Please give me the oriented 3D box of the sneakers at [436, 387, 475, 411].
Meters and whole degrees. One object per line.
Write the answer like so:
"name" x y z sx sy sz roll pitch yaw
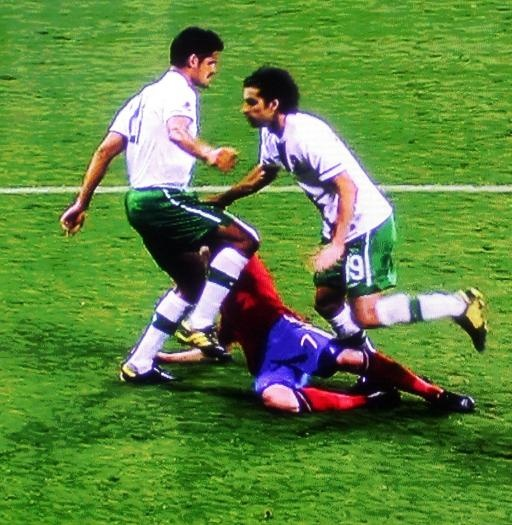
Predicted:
"sneakers" 0.955 0.653 5.943 0.177 0.068 0.087 2 -31 40

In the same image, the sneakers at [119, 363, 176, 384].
"sneakers" -0.546 0.580 6.282 0.301 0.137 0.102 -3 15 -21

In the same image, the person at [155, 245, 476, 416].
"person" 0.226 0.328 6.279 1.426 0.630 1.036 20 17 25

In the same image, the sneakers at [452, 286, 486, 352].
"sneakers" 1.059 0.281 6.180 0.134 0.349 0.116 -9 9 -16
